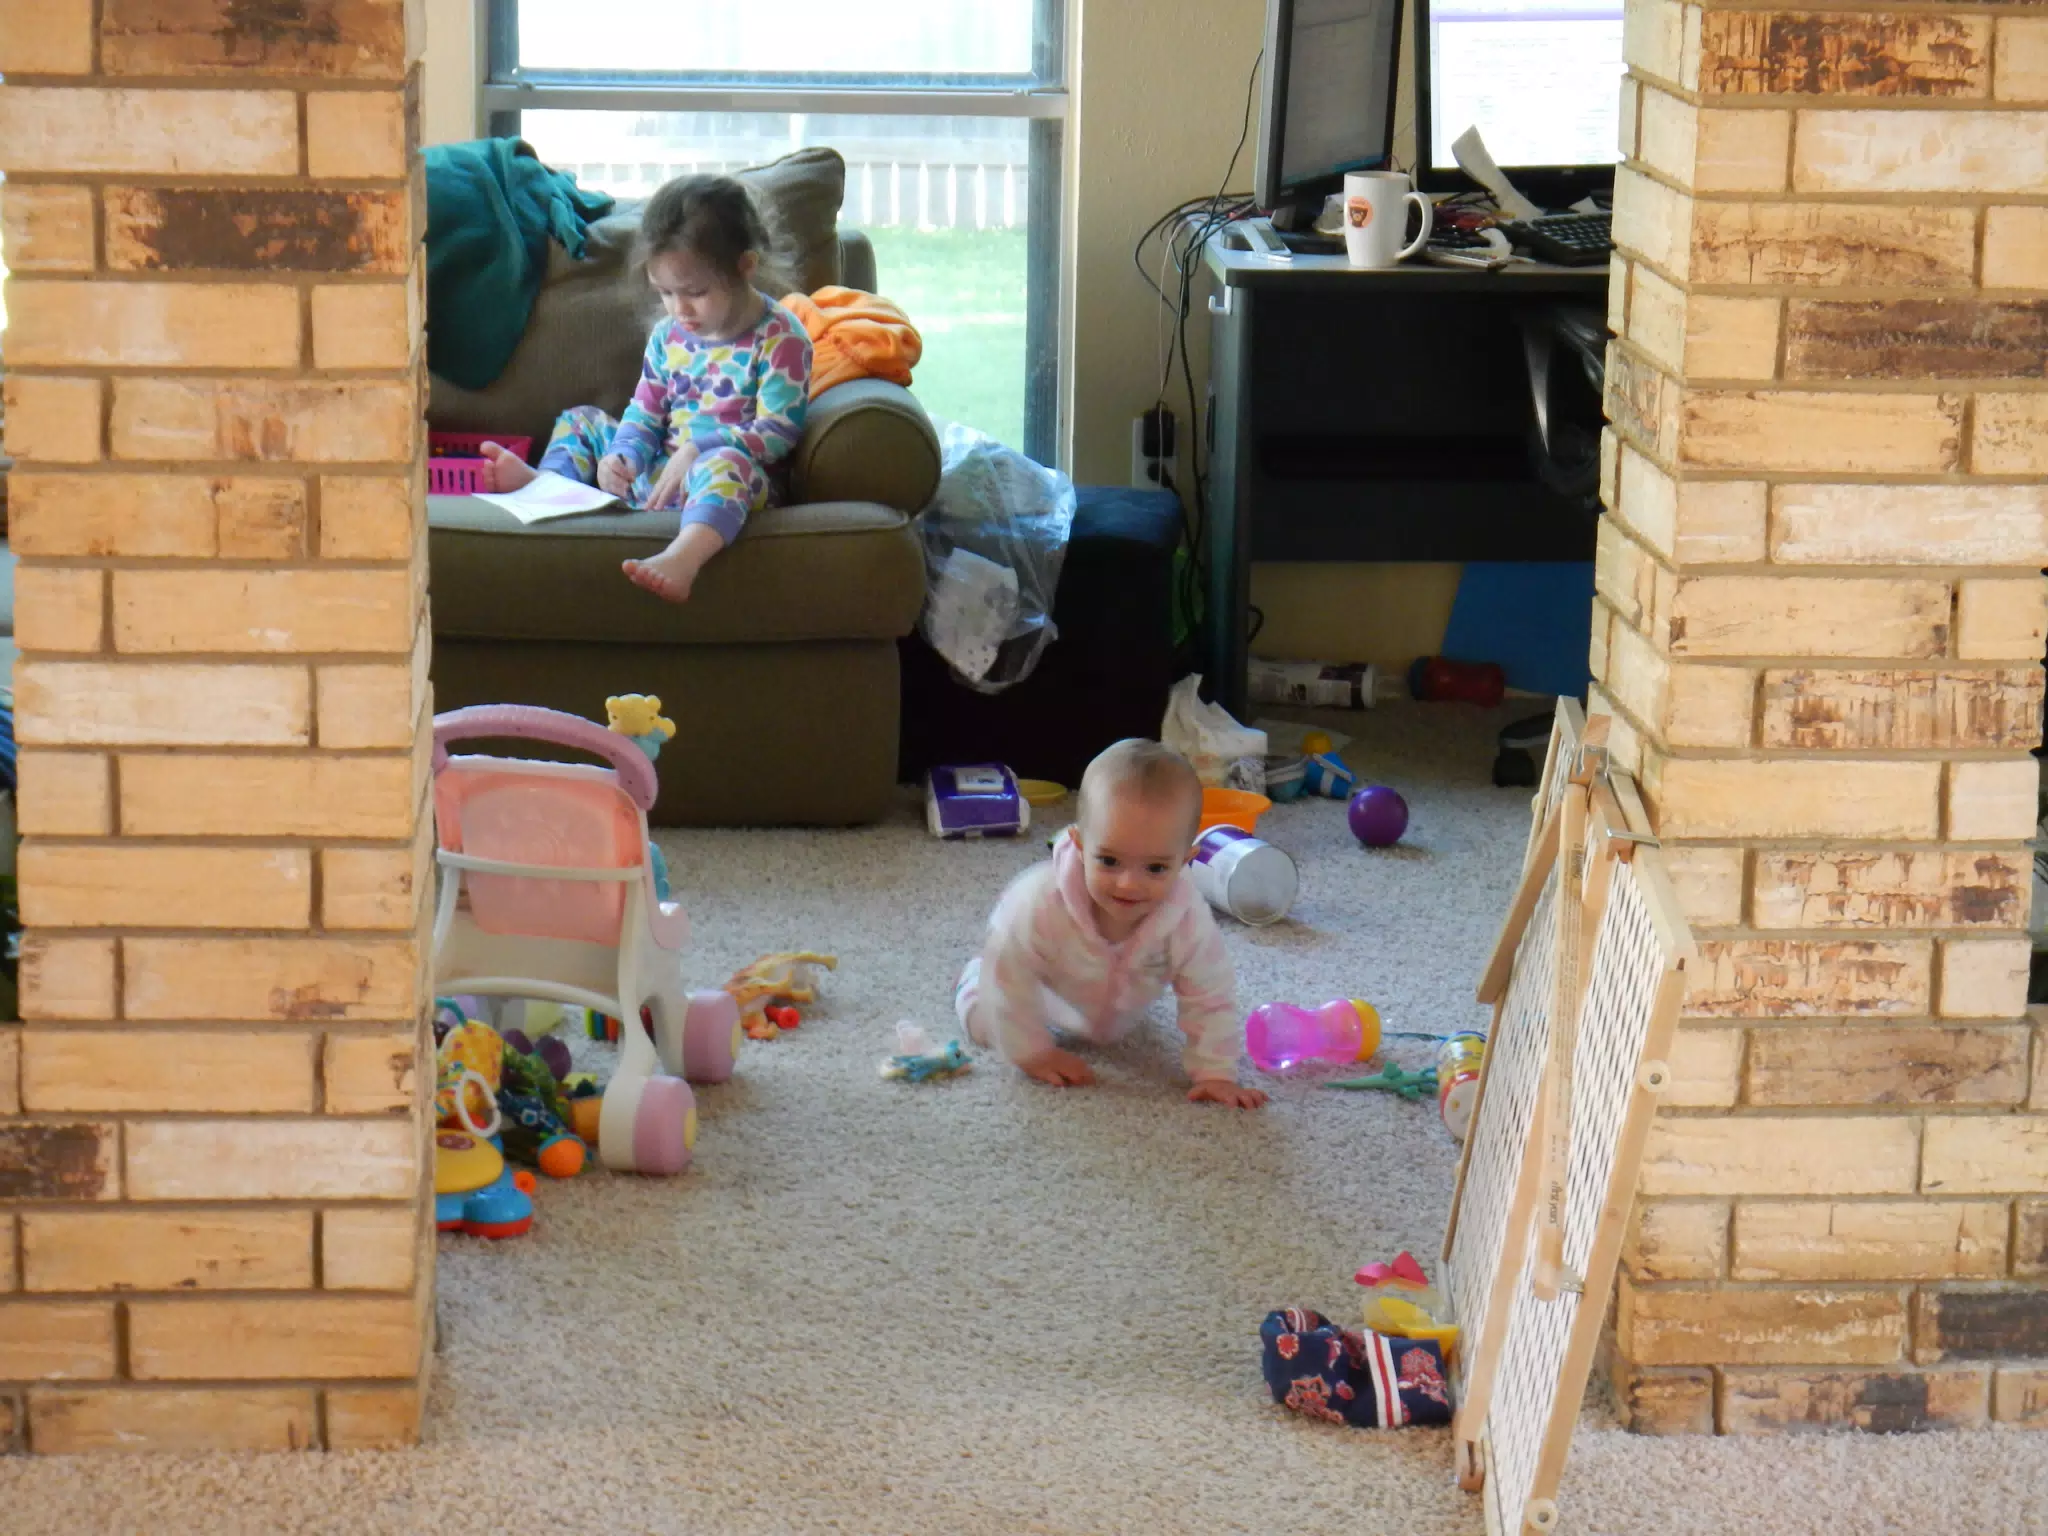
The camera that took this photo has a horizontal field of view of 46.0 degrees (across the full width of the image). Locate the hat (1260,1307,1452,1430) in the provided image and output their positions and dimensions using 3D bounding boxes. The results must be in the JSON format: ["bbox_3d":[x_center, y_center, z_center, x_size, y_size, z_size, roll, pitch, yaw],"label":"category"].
[{"bbox_3d":[0.328,0.554,2.269,0.179,0.085,0.161,5,11,29],"label":"hat"}]

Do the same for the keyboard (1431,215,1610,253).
[{"bbox_3d":[0.785,-0.836,3.766,0.264,0.071,0.296,2,9,11],"label":"keyboard"}]

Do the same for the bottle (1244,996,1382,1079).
[{"bbox_3d":[0.348,0.321,2.886,0.183,0.102,0.105,-1,10,4],"label":"bottle"}]

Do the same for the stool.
[{"bbox_3d":[0.000,-0.220,3.919,0.472,0.311,0.436,1,14,-8],"label":"stool"}]

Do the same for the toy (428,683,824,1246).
[{"bbox_3d":[-0.514,0.179,2.637,0.442,0.571,0.538,5,21,9],"label":"toy"}]

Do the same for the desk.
[{"bbox_3d":[0.550,-0.550,4.128,0.834,0.668,0.765,0,22,-1],"label":"desk"}]

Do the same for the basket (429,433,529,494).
[{"bbox_3d":[-0.927,-0.506,3.951,0.121,0.052,0.164,1,19,-3],"label":"basket"}]

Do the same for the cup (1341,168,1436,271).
[{"bbox_3d":[0.563,-0.824,3.647,0.177,0.139,0.109,-7,12,-33],"label":"cup"}]

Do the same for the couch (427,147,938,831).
[{"bbox_3d":[-0.400,-0.498,3.975,1.004,1.028,1.087,0,22,-3],"label":"couch"}]

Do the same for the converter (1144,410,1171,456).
[{"bbox_3d":[0.242,-0.611,4.392,0.059,0.093,0.060,-6,22,-14],"label":"converter"}]
